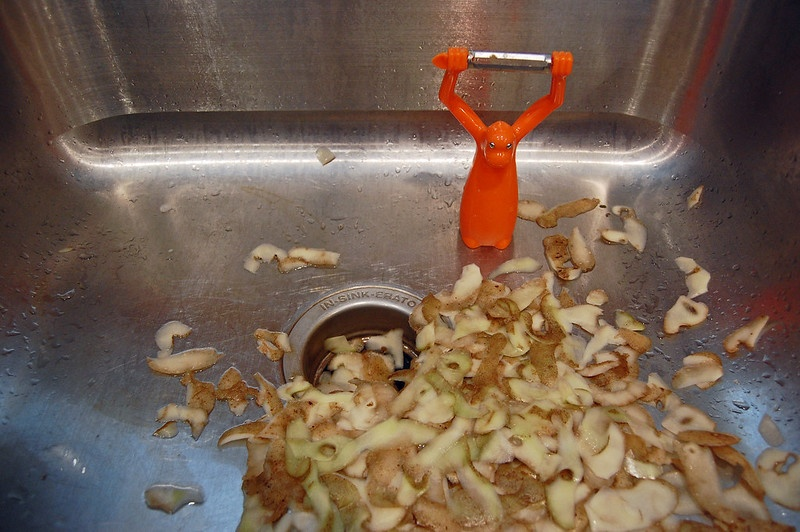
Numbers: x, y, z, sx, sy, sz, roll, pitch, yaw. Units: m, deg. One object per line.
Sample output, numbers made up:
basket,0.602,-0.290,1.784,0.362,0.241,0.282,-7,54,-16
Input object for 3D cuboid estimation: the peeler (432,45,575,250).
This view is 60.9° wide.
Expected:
peeler,0.146,-0.167,1.045,0.191,0.337,0.091,2,37,3
